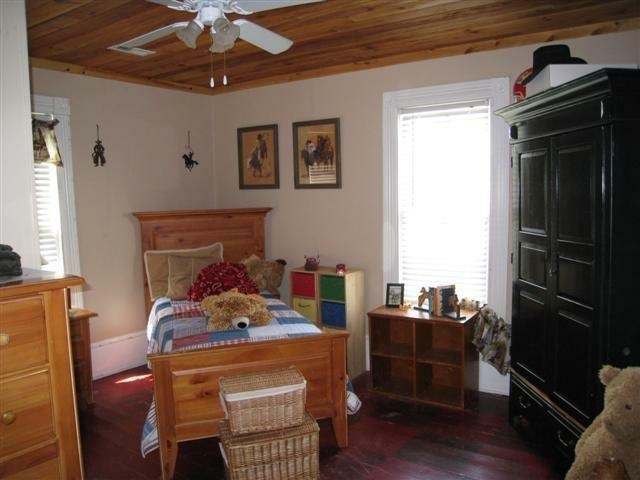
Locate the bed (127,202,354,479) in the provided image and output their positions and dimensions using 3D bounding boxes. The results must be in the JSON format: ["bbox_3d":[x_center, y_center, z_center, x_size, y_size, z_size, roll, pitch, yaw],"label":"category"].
[{"bbox_3d":[-0.981,0.618,4.737,1.644,1.834,2.691,-3,5,-26],"label":"bed"}]

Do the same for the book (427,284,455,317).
[{"bbox_3d":[1.212,0.574,4.665,0.253,0.380,0.271,1,3,32],"label":"book"}]

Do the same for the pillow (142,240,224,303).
[{"bbox_3d":[-1.590,0.333,5.259,0.659,0.670,0.203,-7,-10,-17],"label":"pillow"}]

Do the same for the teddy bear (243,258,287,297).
[{"bbox_3d":[-0.629,0.419,5.640,0.431,0.468,0.178,6,3,19],"label":"teddy bear"}]

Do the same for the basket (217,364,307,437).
[{"bbox_3d":[-0.343,1.092,3.136,0.528,0.343,0.363,-1,-1,-18],"label":"basket"}]

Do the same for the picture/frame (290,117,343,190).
[{"bbox_3d":[-0.010,-1.017,5.540,0.804,1.025,0.048,4,8,35],"label":"picture/frame"}]

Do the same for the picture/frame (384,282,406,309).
[{"bbox_3d":[0.790,0.591,4.954,0.233,0.326,0.028,0,-8,14],"label":"picture/frame"}]
